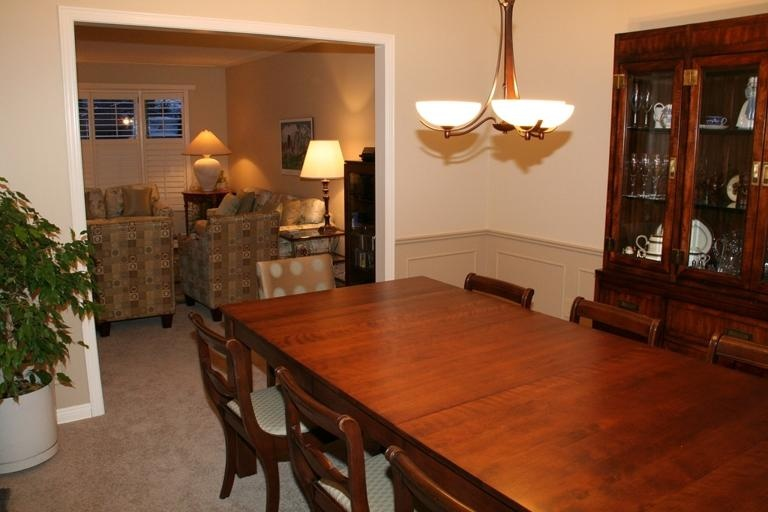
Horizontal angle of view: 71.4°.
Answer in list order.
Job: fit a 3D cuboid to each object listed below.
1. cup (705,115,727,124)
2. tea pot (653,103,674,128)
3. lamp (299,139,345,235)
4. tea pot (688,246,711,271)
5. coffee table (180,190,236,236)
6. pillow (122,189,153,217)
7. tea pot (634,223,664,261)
[{"bbox_3d":[2.146,-0.867,3.445,0.057,0.041,0.084,0,-1,-17],"label":"cup"},{"bbox_3d":[1.920,-0.955,3.672,0.051,0.158,0.120,-8,28,-30],"label":"tea pot"},{"bbox_3d":[-0.675,-0.774,6.051,0.467,1.021,0.672,0,13,-1],"label":"lamp"},{"bbox_3d":[2.123,0.033,3.595,0.078,0.139,0.135,-2,1,-42],"label":"tea pot"},{"bbox_3d":[-3.021,-0.870,8.924,0.891,0.904,0.884,-9,15,-44],"label":"coffee table"},{"bbox_3d":[-3.711,-0.773,7.953,0.386,0.436,0.150,0,-23,-25],"label":"pillow"},{"bbox_3d":[1.918,-0.078,3.825,0.221,0.227,0.142,5,8,32],"label":"tea pot"}]
